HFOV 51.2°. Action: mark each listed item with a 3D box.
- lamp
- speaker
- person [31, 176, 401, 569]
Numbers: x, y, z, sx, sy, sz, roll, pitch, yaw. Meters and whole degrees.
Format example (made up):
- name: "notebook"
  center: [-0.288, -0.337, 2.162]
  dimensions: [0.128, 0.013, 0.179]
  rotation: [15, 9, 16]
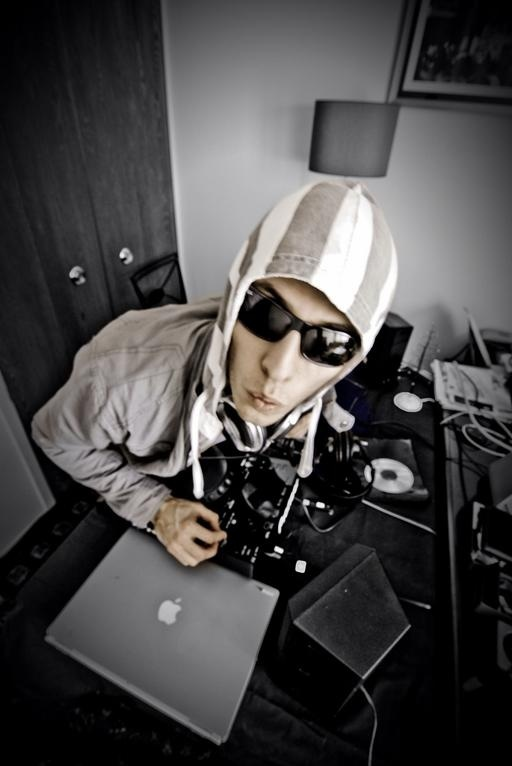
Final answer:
- name: "lamp"
  center: [0.340, -0.883, 1.920]
  dimensions: [0.304, 0.267, 0.147]
  rotation: [12, 38, 13]
- name: "speaker"
  center: [0.166, 0.458, 0.999]
  dimensions: [0.266, 0.193, 0.185]
  rotation: [-30, 47, -35]
- name: "person"
  center: [-0.112, -0.004, 1.293]
  dimensions: [0.868, 0.891, 0.619]
  rotation: [-14, 52, -23]
